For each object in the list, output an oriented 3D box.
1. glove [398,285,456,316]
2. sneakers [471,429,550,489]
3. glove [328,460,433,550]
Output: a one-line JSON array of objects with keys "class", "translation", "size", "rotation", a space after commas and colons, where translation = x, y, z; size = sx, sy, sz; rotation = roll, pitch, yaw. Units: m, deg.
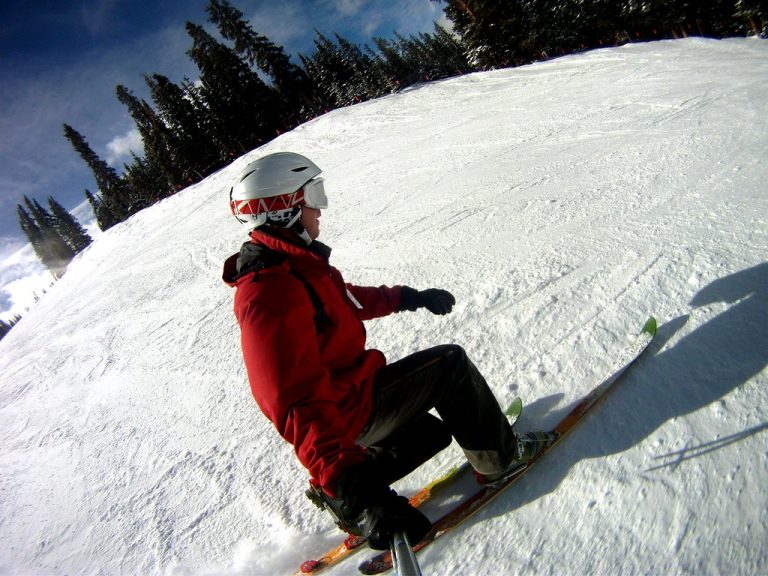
[{"class": "glove", "translation": [0.407, 0.099, 4.704], "size": [0.409, 0.287, 0.161], "rotation": [7, 36, 5]}, {"class": "sneakers", "translation": [1.026, 1.398, 3.989], "size": [0.579, 0.267, 0.182], "rotation": [-35, 31, -11]}, {"class": "glove", "translation": [0.047, 1.426, 3.419], "size": [0.715, 0.583, 0.322], "rotation": [-18, 47, 4]}]
